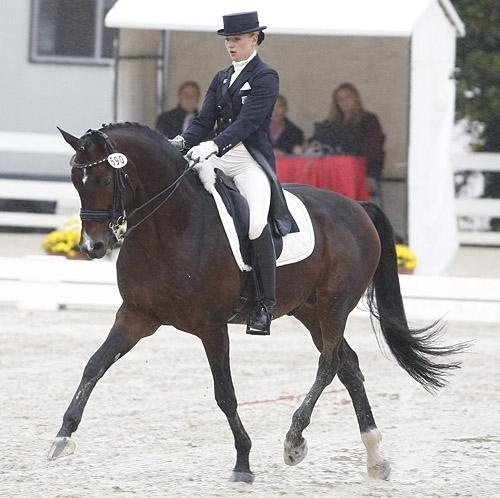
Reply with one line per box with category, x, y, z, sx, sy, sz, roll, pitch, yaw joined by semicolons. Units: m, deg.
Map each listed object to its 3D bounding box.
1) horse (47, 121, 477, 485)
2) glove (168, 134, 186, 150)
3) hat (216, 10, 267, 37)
horse;0.169;0.440;6.908;3.051;1.935;0.758;6;-12;-40
glove;-0.437;-0.626;6.702;0.140;0.049;0.046;15;14;34
hat;-0.046;-1.312;6.650;0.277;0.148;0.193;1;9;-2
